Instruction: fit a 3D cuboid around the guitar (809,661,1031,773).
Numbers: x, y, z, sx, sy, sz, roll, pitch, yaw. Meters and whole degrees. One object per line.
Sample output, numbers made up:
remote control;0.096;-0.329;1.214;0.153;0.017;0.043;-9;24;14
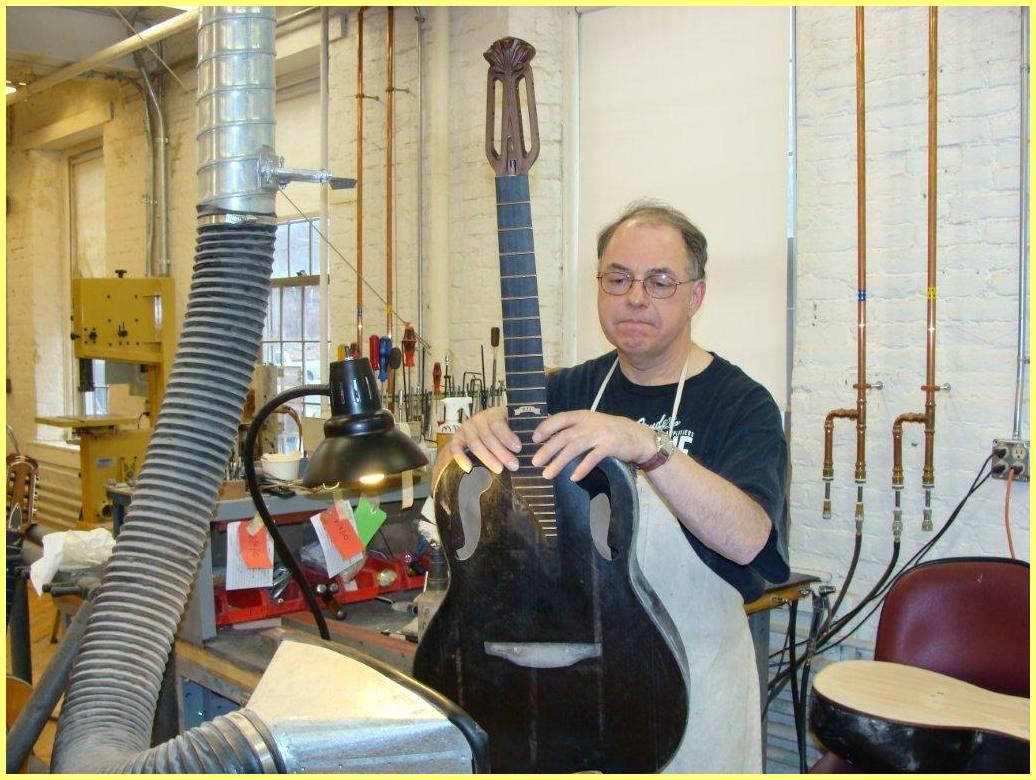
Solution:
guitar;0.968;0.804;2.124;0.497;0.132;0.291;8;15;18

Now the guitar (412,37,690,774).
guitar;0.042;0.022;1.659;0.475;1.382;0.293;0;3;36

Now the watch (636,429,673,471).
watch;0.283;0.130;1.770;0.025;0.072;0.077;34;25;-3

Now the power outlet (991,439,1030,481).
power outlet;1.670;0.239;2.983;0.107;0.146;0.050;-1;3;28
